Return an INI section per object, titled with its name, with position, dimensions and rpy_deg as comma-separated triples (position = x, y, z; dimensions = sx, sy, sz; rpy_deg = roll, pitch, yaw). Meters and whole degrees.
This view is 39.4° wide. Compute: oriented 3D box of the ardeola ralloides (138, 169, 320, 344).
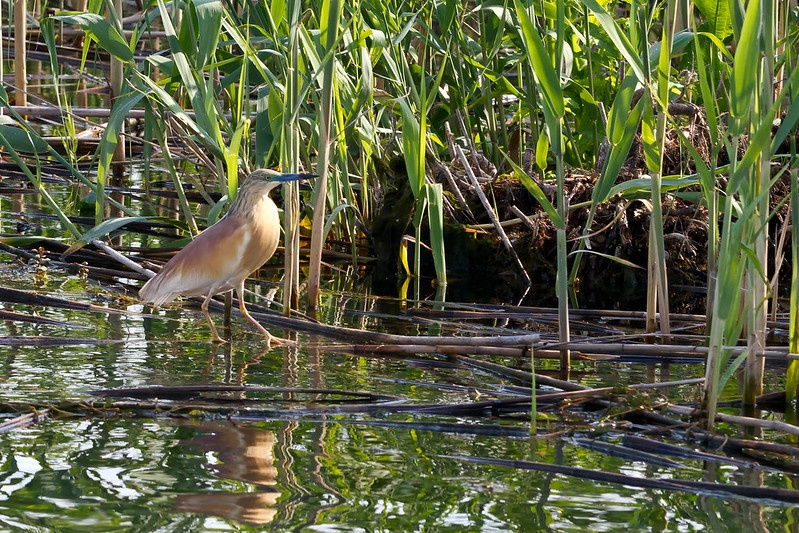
[ardeola ralloides]
position = -0.867, -0.063, 5.467
dimensions = 0.769, 0.835, 0.344
rpy_deg = 4, 12, -6
